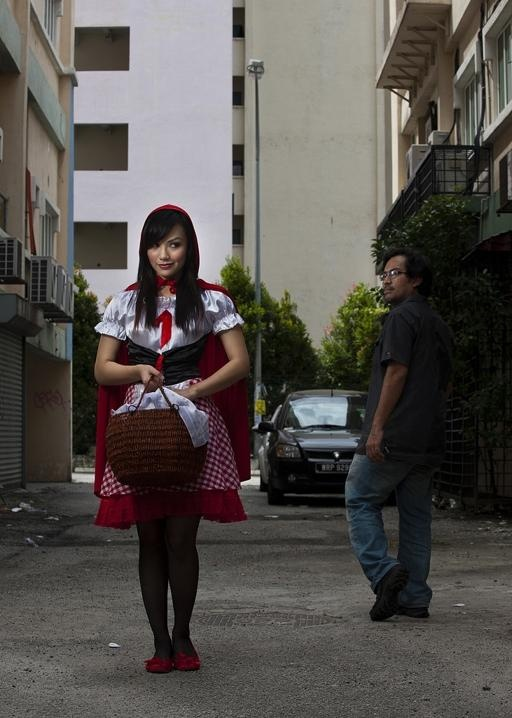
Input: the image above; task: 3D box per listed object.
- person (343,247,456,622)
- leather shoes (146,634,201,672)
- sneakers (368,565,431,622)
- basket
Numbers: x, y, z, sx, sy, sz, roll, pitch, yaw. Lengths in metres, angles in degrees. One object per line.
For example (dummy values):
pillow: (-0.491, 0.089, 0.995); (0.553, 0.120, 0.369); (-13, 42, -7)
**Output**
person: (0.676, 0.349, 4.334); (0.419, 1.813, 0.586); (-4, -6, 40)
leather shoes: (-0.300, 1.080, 3.206); (0.170, 0.077, 0.295); (-3, -5, 0)
sneakers: (0.652, 1.095, 4.125); (0.255, 0.289, 0.378); (-2, -5, 19)
basket: (-0.365, 0.223, 3.049); (0.306, 0.429, 0.226); (1, -20, -12)
